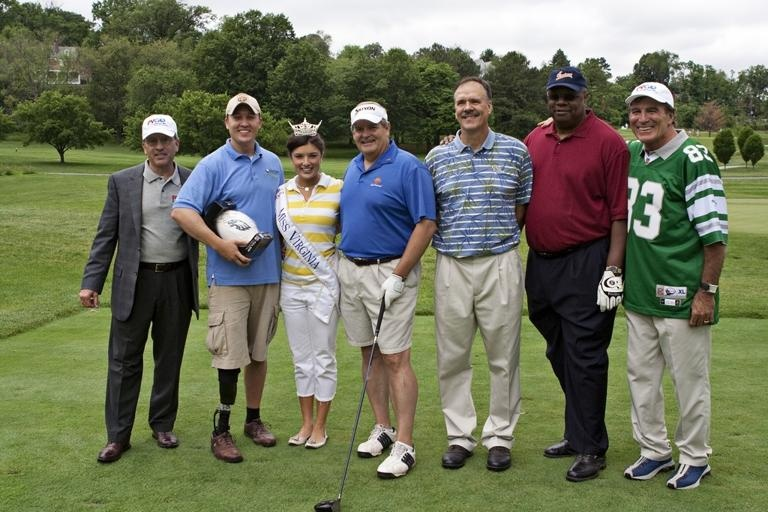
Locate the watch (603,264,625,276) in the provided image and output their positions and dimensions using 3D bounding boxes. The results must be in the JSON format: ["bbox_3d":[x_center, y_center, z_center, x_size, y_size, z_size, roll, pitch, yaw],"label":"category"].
[{"bbox_3d":[1.919,0.120,5.457,0.119,0.059,0.072,8,-5,36],"label":"watch"}]

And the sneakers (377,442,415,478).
[{"bbox_3d":[0.101,1.715,5.488,0.219,0.201,0.358,6,15,28],"label":"sneakers"}]

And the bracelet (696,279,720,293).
[{"bbox_3d":[2.614,0.248,5.266,0.112,0.055,0.110,8,-7,45],"label":"bracelet"}]

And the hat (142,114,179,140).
[{"bbox_3d":[-2.043,-1.175,5.932,0.271,0.210,0.345,-4,13,-13],"label":"hat"}]

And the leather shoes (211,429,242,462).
[{"bbox_3d":[-1.380,1.666,5.659,0.154,0.133,0.359,3,0,-40],"label":"leather shoes"}]

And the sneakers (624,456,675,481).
[{"bbox_3d":[2.178,1.729,5.419,0.441,0.184,0.164,-4,-1,-18],"label":"sneakers"}]

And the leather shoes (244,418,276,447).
[{"bbox_3d":[-1.141,1.632,5.992,0.146,0.146,0.369,7,-2,-45],"label":"leather shoes"}]

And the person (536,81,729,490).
[{"bbox_3d":[2.365,0.198,5.331,0.733,3.176,1.149,1,14,7],"label":"person"}]

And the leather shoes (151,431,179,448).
[{"bbox_3d":[-1.954,1.643,5.849,0.244,0.095,0.108,0,0,41],"label":"leather shoes"}]

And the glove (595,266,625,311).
[{"bbox_3d":[1.853,0.273,5.519,0.282,0.334,0.139,4,10,-19],"label":"glove"}]

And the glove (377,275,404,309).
[{"bbox_3d":[0.052,0.309,5.622,0.205,0.260,0.096,12,0,9],"label":"glove"}]

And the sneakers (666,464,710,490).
[{"bbox_3d":[2.417,1.769,5.253,0.368,0.143,0.153,-16,-13,-33],"label":"sneakers"}]

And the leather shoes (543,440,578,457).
[{"bbox_3d":[1.530,1.688,5.695,0.264,0.100,0.116,4,-4,-3],"label":"leather shoes"}]

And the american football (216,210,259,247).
[{"bbox_3d":[-1.309,-0.265,5.763,0.262,0.221,0.374,-38,40,-27],"label":"american football"}]

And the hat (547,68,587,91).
[{"bbox_3d":[1.585,-1.540,5.659,0.237,0.150,0.305,1,-1,30],"label":"hat"}]

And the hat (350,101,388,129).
[{"bbox_3d":[-0.126,-1.282,5.824,0.236,0.146,0.298,-2,-1,9],"label":"hat"}]

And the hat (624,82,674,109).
[{"bbox_3d":[2.280,-1.377,5.485,0.268,0.168,0.370,2,-3,42],"label":"hat"}]

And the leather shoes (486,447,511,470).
[{"bbox_3d":[0.974,1.710,5.543,0.200,0.136,0.255,1,13,10],"label":"leather shoes"}]

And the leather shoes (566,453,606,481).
[{"bbox_3d":[1.659,1.749,5.370,0.157,0.133,0.354,-12,-16,41],"label":"leather shoes"}]
